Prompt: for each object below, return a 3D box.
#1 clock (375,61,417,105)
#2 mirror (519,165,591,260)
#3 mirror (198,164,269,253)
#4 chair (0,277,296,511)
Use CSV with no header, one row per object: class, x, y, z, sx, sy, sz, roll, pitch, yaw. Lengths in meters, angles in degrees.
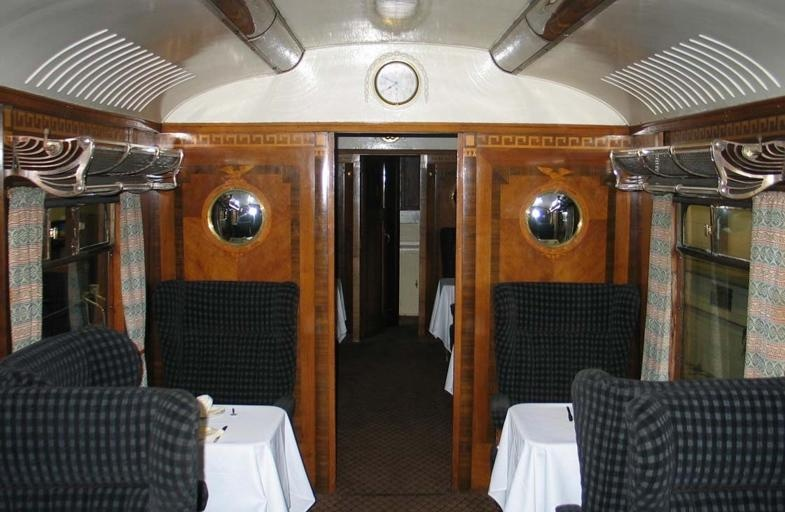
clock,0.010,-1.518,5.381,0.393,0.396,0.087,-13,-25,-32
mirror,1.484,-0.437,5.503,0.853,1.212,0.100,-1,3,-10
mirror,-1.442,-0.446,5.491,0.621,0.771,0.122,3,9,11
chair,-1.819,0.910,4.468,1.440,2.055,1.729,1,-3,1
